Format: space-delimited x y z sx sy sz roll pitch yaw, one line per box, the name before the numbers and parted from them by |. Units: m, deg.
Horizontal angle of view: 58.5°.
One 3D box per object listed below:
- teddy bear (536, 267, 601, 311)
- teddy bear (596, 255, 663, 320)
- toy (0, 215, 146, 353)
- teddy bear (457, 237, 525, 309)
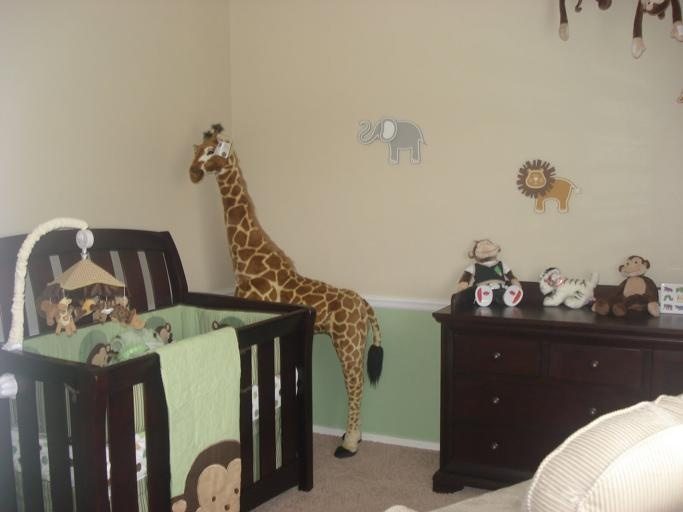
teddy bear | 1.147 0.137 3.081 0.257 0.213 0.190 2 31 33
teddy bear | 1.365 0.169 2.956 0.255 0.317 0.289 2 -3 -32
toy | -1.110 0.046 2.533 0.488 0.699 0.357 -6 15 -36
teddy bear | 0.765 0.082 3.189 0.287 0.397 0.230 -4 -11 -1
